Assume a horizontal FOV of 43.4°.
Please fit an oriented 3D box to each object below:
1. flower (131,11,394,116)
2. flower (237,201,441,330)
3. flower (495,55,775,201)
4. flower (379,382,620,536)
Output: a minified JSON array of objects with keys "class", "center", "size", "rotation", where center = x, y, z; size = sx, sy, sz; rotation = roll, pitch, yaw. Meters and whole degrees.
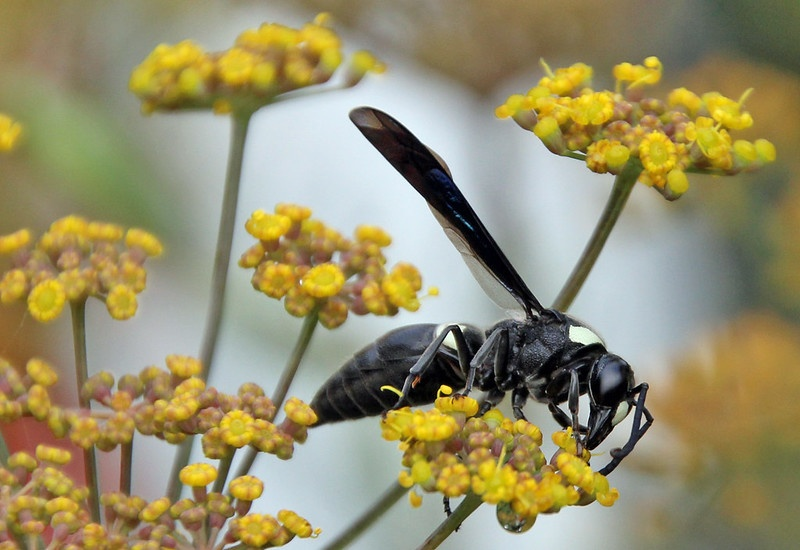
[{"class":"flower","center":[-0.222,-0.307,1.677],"size":[0.417,0.162,0.385],"rotation":[-3,1,-14]},{"class":"flower","center":[-0.108,-0.017,1.654],"size":[0.276,0.109,0.205],"rotation":[25,29,0]},{"class":"flower","center":[0.442,-0.261,1.744],"size":[0.392,0.154,0.352],"rotation":[18,7,18]},{"class":"flower","center":[0.148,0.260,1.474],"size":[0.363,0.111,0.273],"rotation":[29,-4,6]}]
